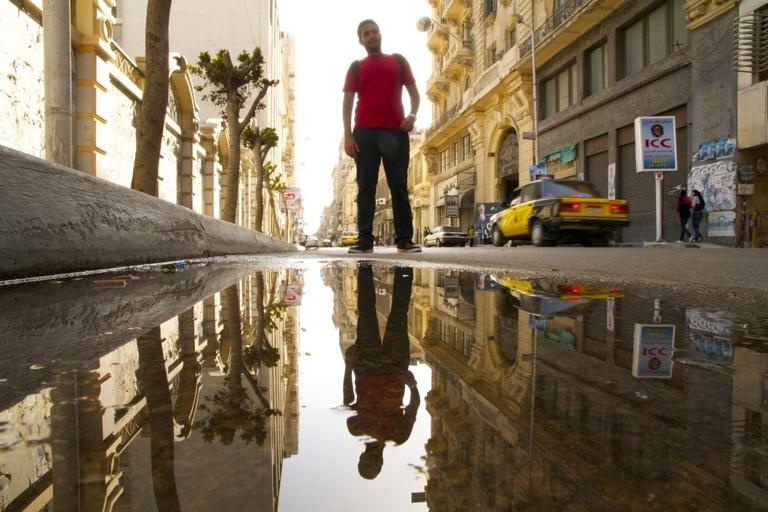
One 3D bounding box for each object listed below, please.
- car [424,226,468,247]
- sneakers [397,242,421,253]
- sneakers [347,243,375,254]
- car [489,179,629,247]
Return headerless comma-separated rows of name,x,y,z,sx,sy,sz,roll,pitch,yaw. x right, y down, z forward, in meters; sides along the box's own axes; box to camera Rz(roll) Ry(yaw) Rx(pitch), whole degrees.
car,3.058,-1.002,27.808,1.050,2.227,0.678,0,-86,-14
sneakers,0.282,-0.099,6.530,0.300,0.115,0.145,-4,-94,19
sneakers,-0.274,-0.100,6.612,0.304,0.125,0.150,2,-90,-2
car,3.867,-0.952,13.025,1.469,3.282,1.154,0,-88,-12
